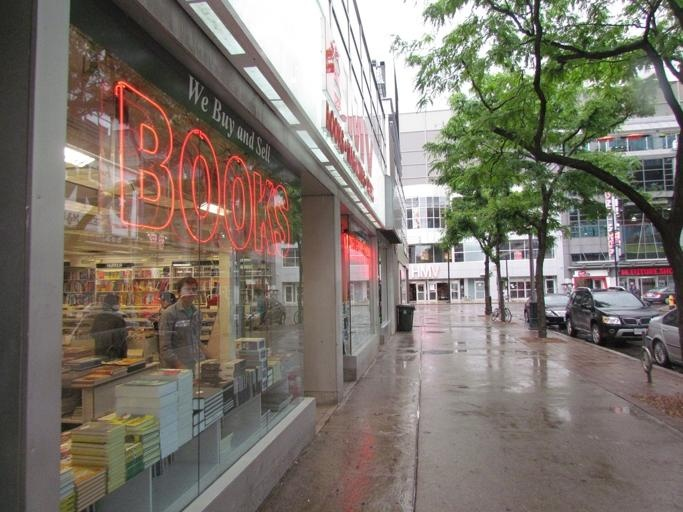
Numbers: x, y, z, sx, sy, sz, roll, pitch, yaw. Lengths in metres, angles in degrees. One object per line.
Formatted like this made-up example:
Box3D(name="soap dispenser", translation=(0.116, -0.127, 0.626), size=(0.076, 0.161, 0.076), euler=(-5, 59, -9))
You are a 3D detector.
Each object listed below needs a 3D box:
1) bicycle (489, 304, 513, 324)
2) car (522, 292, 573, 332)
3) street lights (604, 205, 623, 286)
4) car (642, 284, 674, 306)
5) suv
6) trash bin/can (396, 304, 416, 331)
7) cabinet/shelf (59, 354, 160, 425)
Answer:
Box3D(name="bicycle", translation=(8.662, 3.180, 27.321), size=(0.798, 1.130, 1.646), euler=(2, -7, -25))
Box3D(name="car", translation=(10.162, 2.546, 24.087), size=(1.352, 1.266, 3.197), euler=(-2, -9, 4))
Box3D(name="street lights", translation=(25.892, -1.046, 47.260), size=(0.785, 8.587, 0.851), euler=(-9, 12, 2))
Box3D(name="car", translation=(24.049, 3.001, 38.358), size=(3.486, 1.279, 1.559), euler=(-4, 1, -40))
Box3D(name="suv", translation=(9.301, 2.064, 17.416), size=(1.757, 1.830, 4.851), euler=(-1, -2, 9))
Box3D(name="trash bin/can", translation=(2.798, 2.794, 22.619), size=(0.924, 1.275, 0.974), euler=(0, -8, 2))
Box3D(name="cabinet/shelf", translation=(-1.711, 0.984, 3.702), size=(0.086, 0.380, 0.819), euler=(-1, -2, 18))
